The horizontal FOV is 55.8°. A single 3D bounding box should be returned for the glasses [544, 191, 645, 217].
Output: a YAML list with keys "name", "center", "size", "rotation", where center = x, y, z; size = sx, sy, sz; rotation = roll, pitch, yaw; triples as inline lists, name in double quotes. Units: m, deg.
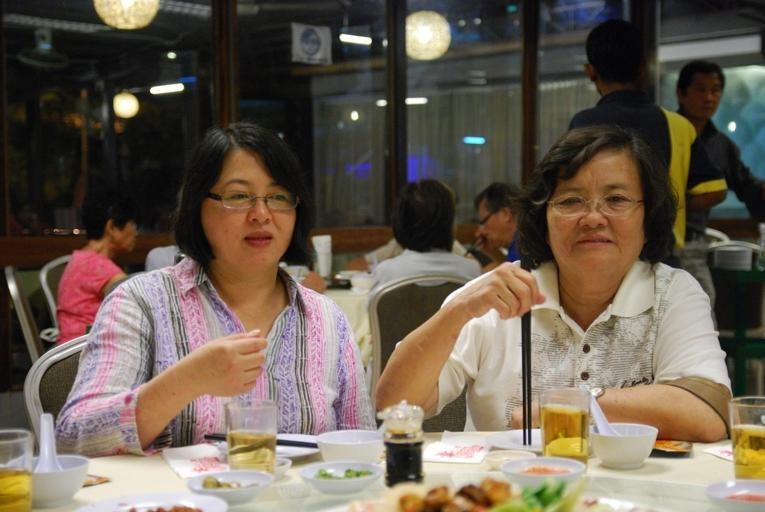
- name: "glasses"
  center: [0.680, -0.162, 2.326]
  size: [0.277, 0.074, 0.067]
  rotation: [-2, -1, 12]

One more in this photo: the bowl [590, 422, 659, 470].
- name: "bowl"
  center: [0.631, 0.498, 1.898]
  size: [0.176, 0.081, 0.172]
  rotation: [-3, -1, 0]

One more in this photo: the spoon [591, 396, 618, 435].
- name: "spoon"
  center: [0.621, 0.447, 2.023]
  size: [0.033, 0.151, 0.023]
  rotation: [1, -44, -24]

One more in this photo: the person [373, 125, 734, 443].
- name: "person"
  center: [0.578, 0.281, 2.442]
  size: [1.126, 1.308, 0.916]
  rotation: [2, 7, 21]

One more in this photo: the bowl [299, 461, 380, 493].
- name: "bowl"
  center: [-0.100, 0.523, 1.701]
  size: [0.192, 0.071, 0.109]
  rotation: [-2, -1, 2]

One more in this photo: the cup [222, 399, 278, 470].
- name: "cup"
  center: [-0.332, 0.465, 1.842]
  size: [0.130, 0.187, 0.124]
  rotation: [1, -6, 0]

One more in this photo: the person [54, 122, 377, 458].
- name: "person"
  center: [-0.508, 0.064, 2.204]
  size: [0.597, 1.029, 0.747]
  rotation: [-2, 0, 36]

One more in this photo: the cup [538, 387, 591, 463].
- name: "cup"
  center: [0.467, 0.437, 1.850]
  size: [0.125, 0.181, 0.118]
  rotation: [-3, -3, 0]

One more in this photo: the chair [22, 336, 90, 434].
- name: "chair"
  center: [-1.070, 0.426, 2.518]
  size: [0.295, 0.375, 0.317]
  rotation: [3, -5, -20]

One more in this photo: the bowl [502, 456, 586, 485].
- name: "bowl"
  center: [0.372, 0.496, 1.674]
  size: [0.123, 0.031, 0.119]
  rotation: [-1, -1, 0]

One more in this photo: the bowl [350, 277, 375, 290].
- name: "bowl"
  center: [-0.136, 0.186, 4.694]
  size: [0.115, 0.066, 0.107]
  rotation: [0, -4, 0]

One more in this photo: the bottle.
- name: "bottle"
  center: [0.029, 0.439, 1.721]
  size: [0.085, 0.199, 0.132]
  rotation: [-2, 0, -41]

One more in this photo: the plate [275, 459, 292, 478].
- name: "plate"
  center: [-0.251, 0.534, 1.822]
  size: [0.042, 0.018, 0.040]
  rotation: [0, 5, -17]

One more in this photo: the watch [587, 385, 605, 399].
- name: "watch"
  center: [0.623, 0.398, 2.119]
  size: [0.075, 0.027, 0.074]
  rotation: [0, 1, 3]

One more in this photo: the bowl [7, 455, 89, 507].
- name: "bowl"
  center: [-0.767, 0.507, 1.683]
  size: [0.114, 0.065, 0.113]
  rotation: [-2, 3, 0]
